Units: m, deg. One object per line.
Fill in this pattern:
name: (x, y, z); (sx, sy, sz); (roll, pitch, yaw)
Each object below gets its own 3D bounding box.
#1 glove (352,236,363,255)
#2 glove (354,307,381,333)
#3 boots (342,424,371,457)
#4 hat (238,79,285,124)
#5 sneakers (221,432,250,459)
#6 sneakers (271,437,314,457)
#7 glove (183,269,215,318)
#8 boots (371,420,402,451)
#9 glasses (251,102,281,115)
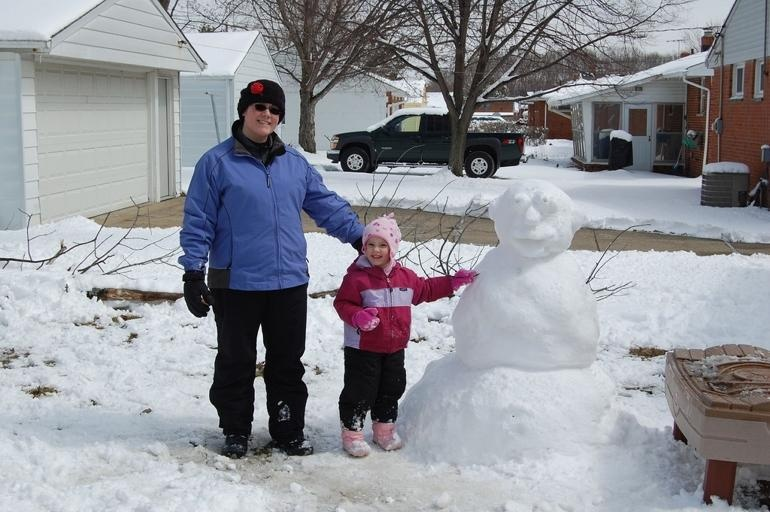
glove: (-0.202, -0.078, 4.964); (0.084, 0.121, 0.102); (2, -26, -3)
glove: (-0.123, 0.443, 4.546); (0.168, 0.150, 0.076); (6, -4, -7)
boots: (-0.166, 1.361, 4.757); (0.108, 0.229, 0.312); (1, -6, -30)
hat: (-0.920, -1.144, 4.783); (0.275, 0.265, 0.302); (-1, -1, -42)
sneakers: (-1.074, 1.361, 4.670); (0.117, 0.140, 0.330); (2, -5, -12)
sneakers: (-0.671, 1.393, 4.799); (0.223, 0.101, 0.133); (-5, 2, 21)
glove: (-1.283, 0.272, 4.590); (0.213, 0.322, 0.144); (-4, -16, 26)
boots: (0.009, 1.345, 4.913); (0.124, 0.169, 0.251); (-4, 5, -38)
glasses: (-0.849, -1.054, 4.671); (0.091, 0.028, 0.097); (8, -17, -25)
